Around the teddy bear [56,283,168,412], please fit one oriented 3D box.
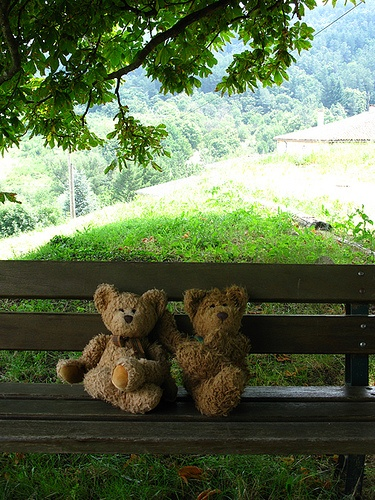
[{"bbox_3d":[-0.237,0.337,1.583,0.373,0.347,0.387,5,13,11],"label":"teddy bear"}]
